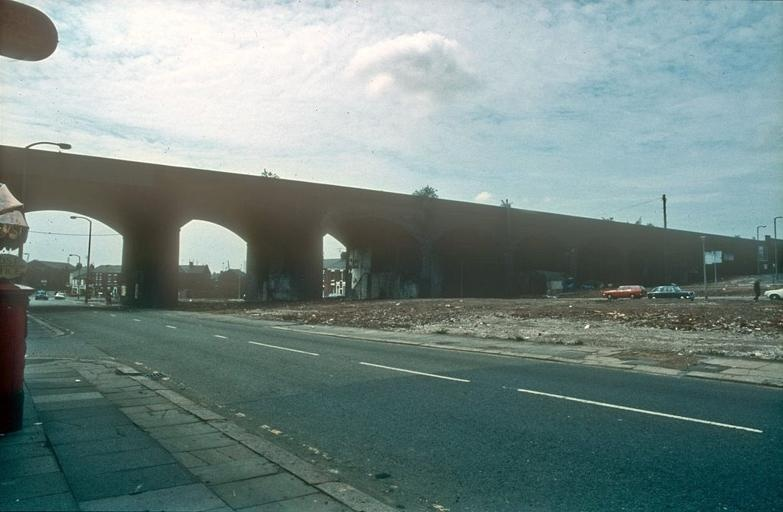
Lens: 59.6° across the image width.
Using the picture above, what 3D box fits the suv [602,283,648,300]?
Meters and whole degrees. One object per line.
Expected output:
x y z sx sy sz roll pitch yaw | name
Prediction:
18.705 2.930 56.103 3.417 1.196 1.808 0 -5 38 | suv

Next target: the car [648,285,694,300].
21.621 2.909 53.370 2.704 0.757 1.490 -5 -6 39 | car
